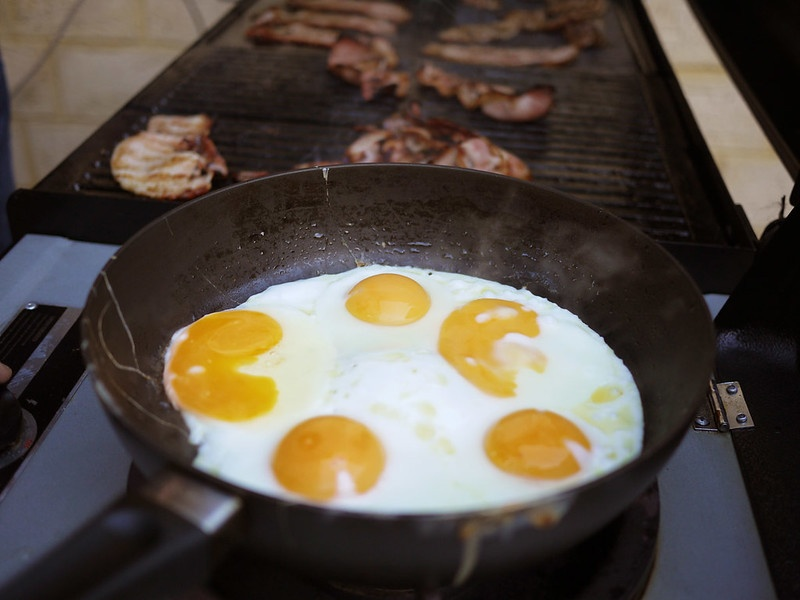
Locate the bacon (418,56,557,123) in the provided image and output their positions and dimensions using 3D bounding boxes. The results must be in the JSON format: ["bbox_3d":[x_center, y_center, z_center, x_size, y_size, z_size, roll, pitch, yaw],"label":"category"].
[{"bbox_3d":[0.342,-0.919,3.062,0.603,0.161,0.314,15,40,7],"label":"bacon"}]

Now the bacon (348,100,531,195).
[{"bbox_3d":[0.150,-0.639,2.817,0.598,0.108,0.382,13,36,2],"label":"bacon"}]

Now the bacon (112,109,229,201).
[{"bbox_3d":[-0.893,-0.554,2.652,0.366,0.048,0.396,-4,51,-12],"label":"bacon"}]

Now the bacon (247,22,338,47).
[{"bbox_3d":[-0.459,-1.136,2.987,0.317,0.120,0.036,4,14,9],"label":"bacon"}]

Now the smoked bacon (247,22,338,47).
[{"bbox_3d":[-0.472,-1.141,2.939,0.317,0.120,0.036,4,14,9],"label":"smoked bacon"}]

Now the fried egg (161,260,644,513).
[{"bbox_3d":[0.032,0.256,1.712,0.957,0.618,0.774,1,34,0],"label":"fried egg"}]

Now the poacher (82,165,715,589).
[{"bbox_3d":[0.089,0.023,1.561,1.056,0.326,1.121,-2,34,-4],"label":"poacher"}]
